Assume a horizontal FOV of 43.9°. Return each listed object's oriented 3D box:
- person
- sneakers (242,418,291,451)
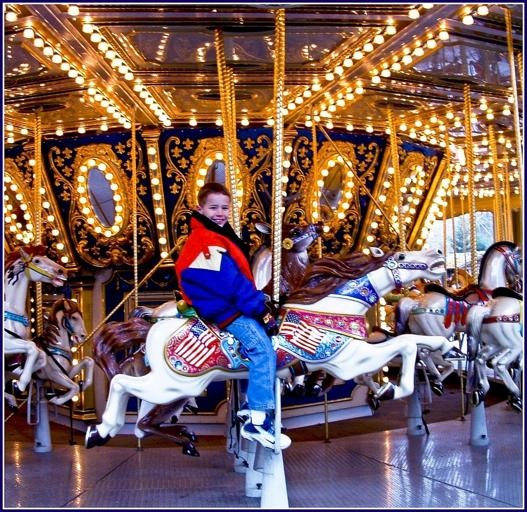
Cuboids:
[{"bbox_3d":[-0.210,0.314,3.783,0.613,1.552,0.332,-4,-8,4],"label":"person"},{"bbox_3d":[0.022,0.966,3.630,0.295,0.157,0.092,15,9,26],"label":"sneakers"}]
